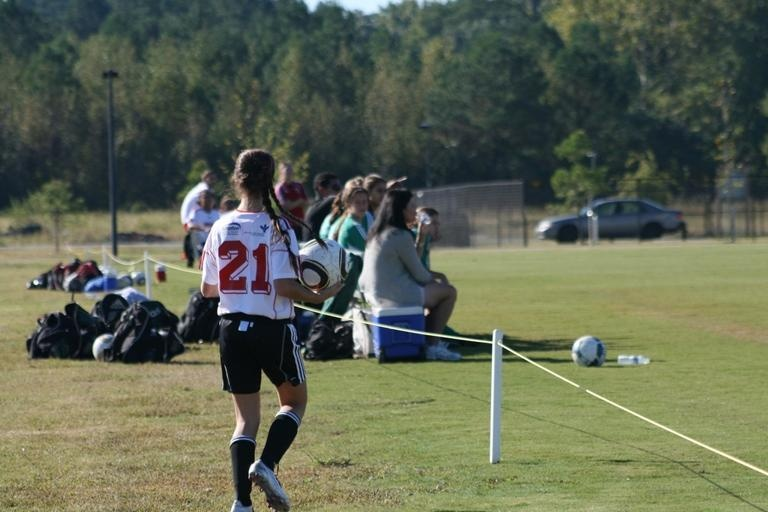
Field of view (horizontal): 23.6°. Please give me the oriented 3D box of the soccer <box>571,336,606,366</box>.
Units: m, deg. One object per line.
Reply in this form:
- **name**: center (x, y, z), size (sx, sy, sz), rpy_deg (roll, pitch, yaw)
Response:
- **soccer**: center (6.575, 3.091, 59.262), size (0.979, 0.941, 0.949), rpy_deg (7, 34, 9)

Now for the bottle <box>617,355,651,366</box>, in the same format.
- **bottle**: center (8.023, 3.358, 59.239), size (1.085, 0.241, 0.420), rpy_deg (3, 14, 7)

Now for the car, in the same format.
- **car**: center (9.706, -1.470, 77.353), size (6.189, 1.818, 2.319), rpy_deg (-2, 6, 19)

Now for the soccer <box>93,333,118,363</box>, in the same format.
- **soccer**: center (-9.136, 2.941, 59.691), size (0.799, 0.881, 0.761), rpy_deg (8, 30, 3)
